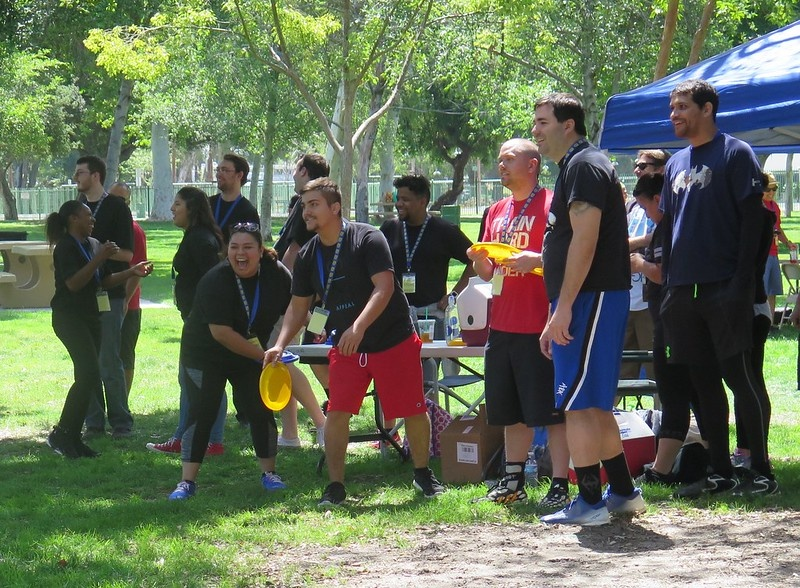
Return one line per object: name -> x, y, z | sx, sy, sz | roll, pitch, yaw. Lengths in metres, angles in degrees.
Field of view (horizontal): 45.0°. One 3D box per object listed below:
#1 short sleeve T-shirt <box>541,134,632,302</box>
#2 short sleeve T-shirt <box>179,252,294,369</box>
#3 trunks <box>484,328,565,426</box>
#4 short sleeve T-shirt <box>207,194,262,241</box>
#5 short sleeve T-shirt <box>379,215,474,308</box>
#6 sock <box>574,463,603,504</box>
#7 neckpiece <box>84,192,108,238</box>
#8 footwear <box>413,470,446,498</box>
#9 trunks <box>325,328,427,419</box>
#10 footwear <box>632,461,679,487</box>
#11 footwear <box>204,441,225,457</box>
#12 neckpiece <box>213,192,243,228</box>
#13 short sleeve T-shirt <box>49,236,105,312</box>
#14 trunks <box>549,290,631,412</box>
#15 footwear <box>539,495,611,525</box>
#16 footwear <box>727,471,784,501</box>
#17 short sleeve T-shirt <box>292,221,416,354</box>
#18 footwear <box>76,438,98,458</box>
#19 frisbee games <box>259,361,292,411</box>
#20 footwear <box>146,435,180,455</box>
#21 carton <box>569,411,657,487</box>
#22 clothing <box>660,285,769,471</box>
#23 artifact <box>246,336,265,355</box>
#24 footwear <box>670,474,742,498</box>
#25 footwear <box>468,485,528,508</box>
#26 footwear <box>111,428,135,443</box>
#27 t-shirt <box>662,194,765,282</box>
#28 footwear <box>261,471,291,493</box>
short sleeve T-shirt -> 1.261, -0.506, 6.591 | 0.602, 1.104, 1.098 | -5, 2, 6
short sleeve T-shirt -> -1.344, 0.122, 7.728 | 0.568, 0.963, 0.864 | 26, 21, 28
trunks -> 0.880, 0.576, 6.726 | 0.598, 0.682, 0.363 | -6, -10, 42
short sleeve T-shirt -> -1.475, -0.673, 8.585 | 0.514, 0.529, 0.293 | 8, 12, 22
short sleeve T-shirt -> 0.209, -0.267, 8.266 | 1.046, 0.877, 0.412 | 2, 6, 24
sock -> 1.255, 1.265, 6.414 | 0.160, 0.250, 0.152 | -10, 9, 17
neckpiece -> -2.828, -0.791, 9.201 | 0.227, 0.315, 0.076 | 4, 14, -8
footwear -> 0.223, 1.427, 7.274 | 0.115, 0.135, 0.293 | -13, 9, -29
trunks -> -0.132, 0.640, 7.327 | 0.892, 0.910, 0.526 | 0, -5, 3
footwear -> 1.895, 1.364, 7.224 | 0.299, 0.141, 0.112 | 2, -3, 9
footwear -> -1.639, 1.404, 8.710 | 0.193, 0.128, 0.102 | 2, -4, 0
neckpiece -> -1.626, -0.790, 9.039 | 0.227, 0.310, 0.071 | 13, 4, -17
short sleeve T-shirt -> -2.843, -0.177, 8.646 | 0.431, 0.763, 0.668 | -1, 0, 21
trunks -> 1.252, 0.377, 6.489 | 0.437, 0.839, 0.583 | -3, -4, 19
footwear -> 1.180, 1.450, 6.524 | 0.447, 0.220, 0.167 | 0, -4, 11
footwear -> 2.469, 1.355, 6.844 | 0.401, 0.183, 0.142 | 2, 0, 7
short sleeve T-shirt -> -0.369, -0.104, 7.313 | 0.832, 0.861, 0.503 | -10, 9, 30
footwear -> -2.769, 1.384, 8.645 | 0.213, 0.121, 0.064 | 29, 12, 17
frisbee games -> -0.906, 0.685, 7.190 | 0.334, 0.355, 0.058 | 0, -5, 37
footwear -> -2.157, 1.391, 8.859 | 0.361, 0.154, 0.134 | 6, -2, 10
carton -> 1.644, 1.224, 7.537 | 0.555, 0.554, 0.415 | 0, -11, -38
clothing -> 2.131, 0.511, 6.624 | 0.552, 1.357, 0.424 | -17, -23, 41
artifact -> -1.108, 0.395, 7.444 | 0.142, 0.057, 0.115 | 46, 14, 26
footwear -> 2.145, 1.412, 6.974 | 0.524, 0.204, 0.176 | -5, -12, 0
footwear -> 0.704, 1.460, 7.020 | 0.436, 0.197, 0.154 | 2, -10, 7
footwear -> -2.592, 1.342, 9.165 | 0.197, 0.095, 0.084 | -7, 7, -35
t-shirt -> 2.102, -0.350, 6.758 | 0.466, 0.851, 0.885 | 3, -3, -3
footwear -> -0.983, 1.477, 7.628 | 0.090, 0.104, 0.225 | -2, -5, -36
